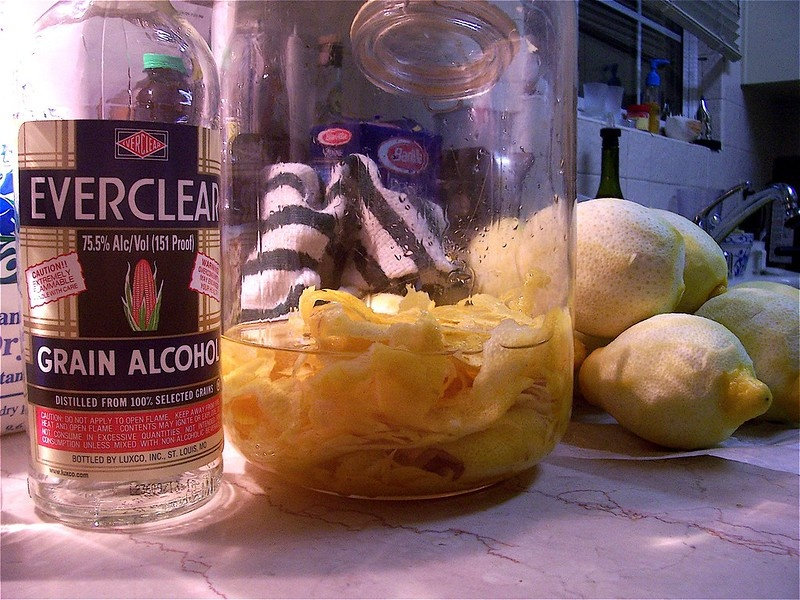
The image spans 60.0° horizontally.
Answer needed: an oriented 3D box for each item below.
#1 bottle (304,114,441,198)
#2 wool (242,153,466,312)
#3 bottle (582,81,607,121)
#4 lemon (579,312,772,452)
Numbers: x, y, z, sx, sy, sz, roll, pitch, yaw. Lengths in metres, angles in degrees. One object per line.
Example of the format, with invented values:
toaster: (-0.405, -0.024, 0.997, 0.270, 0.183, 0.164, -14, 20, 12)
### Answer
bottle: (-0.027, -0.123, 0.578, 0.084, 0.066, 0.028, 1, 1, -2)
wool: (-0.053, -0.084, 0.556, 0.137, 0.072, 0.160, -6, 33, 3)
bottle: (0.512, -0.513, 1.793, 0.070, 0.087, 0.075, 2, 13, 3)
lemon: (0.250, 0.065, 0.651, 0.161, 0.102, 0.095, 7, 53, 34)
